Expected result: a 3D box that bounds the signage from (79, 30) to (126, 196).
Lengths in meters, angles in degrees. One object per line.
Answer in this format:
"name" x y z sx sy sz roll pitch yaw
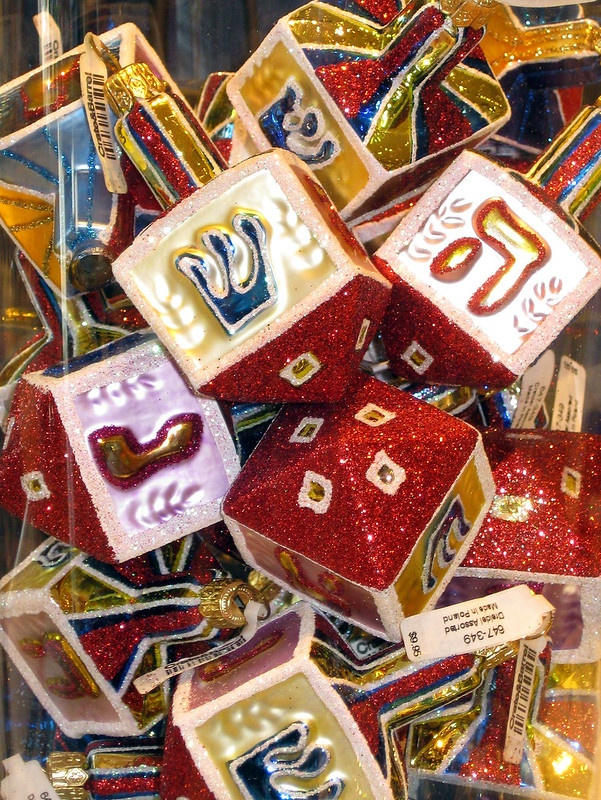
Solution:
"signage" -0.246 -0.356 1.005 0.041 0.151 0.153 -11 60 4
